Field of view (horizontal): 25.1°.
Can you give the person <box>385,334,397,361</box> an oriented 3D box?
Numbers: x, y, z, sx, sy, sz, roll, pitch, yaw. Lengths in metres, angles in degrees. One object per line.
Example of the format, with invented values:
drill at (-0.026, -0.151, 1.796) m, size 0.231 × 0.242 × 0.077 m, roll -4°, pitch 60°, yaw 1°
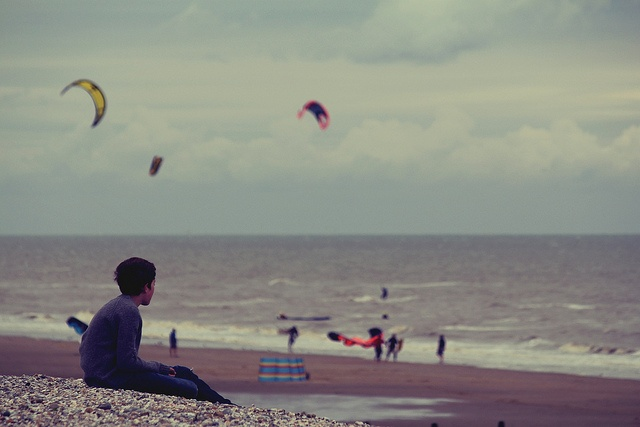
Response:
person at (5.591, 10.354, 112.575) m, size 0.797 × 1.953 × 0.557 m, roll 7°, pitch 21°, yaw -2°
